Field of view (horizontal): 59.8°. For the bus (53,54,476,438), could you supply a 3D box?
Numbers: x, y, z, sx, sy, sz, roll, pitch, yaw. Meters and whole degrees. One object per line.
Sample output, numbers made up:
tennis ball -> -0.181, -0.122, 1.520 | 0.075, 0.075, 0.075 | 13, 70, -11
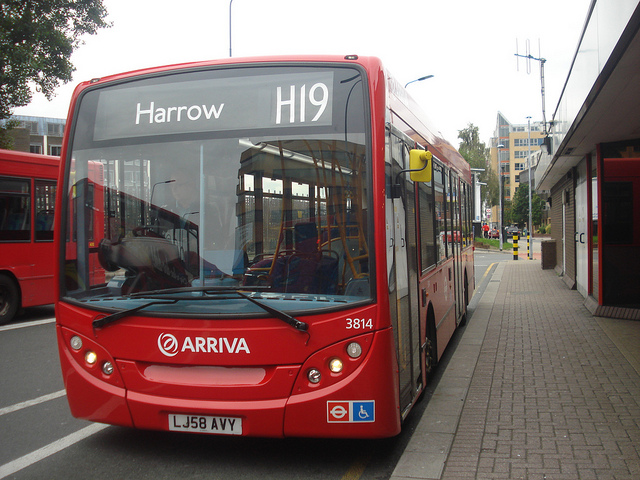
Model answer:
bus -> -0.305, 0.028, 5.518 | 4.219, 3.542, 2.370 | -2, 2, -32
